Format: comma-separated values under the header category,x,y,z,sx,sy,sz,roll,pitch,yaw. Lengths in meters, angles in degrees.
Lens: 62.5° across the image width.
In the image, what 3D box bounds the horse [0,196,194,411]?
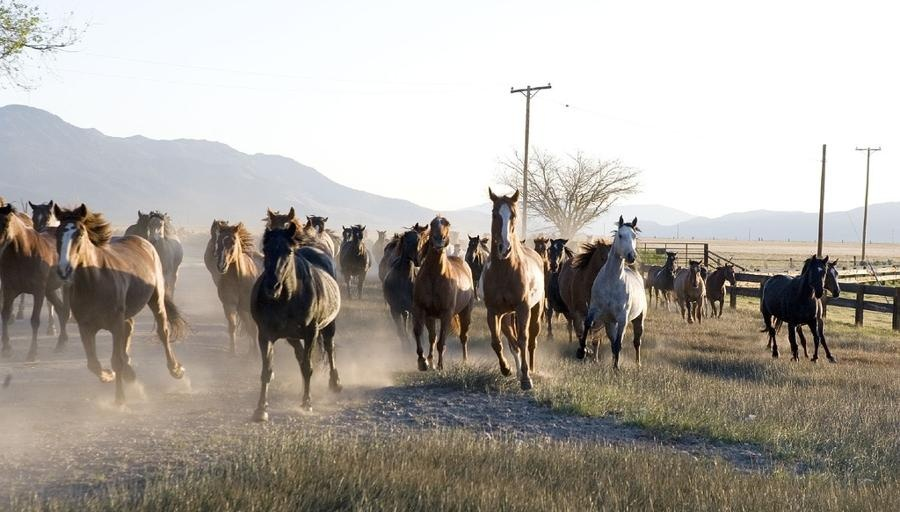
category,x,y,z,sx,sy,sz,roll,pitch,yaw
horse,-8.804,1.084,19.745,1.799,5.144,3.062,6,14,22
